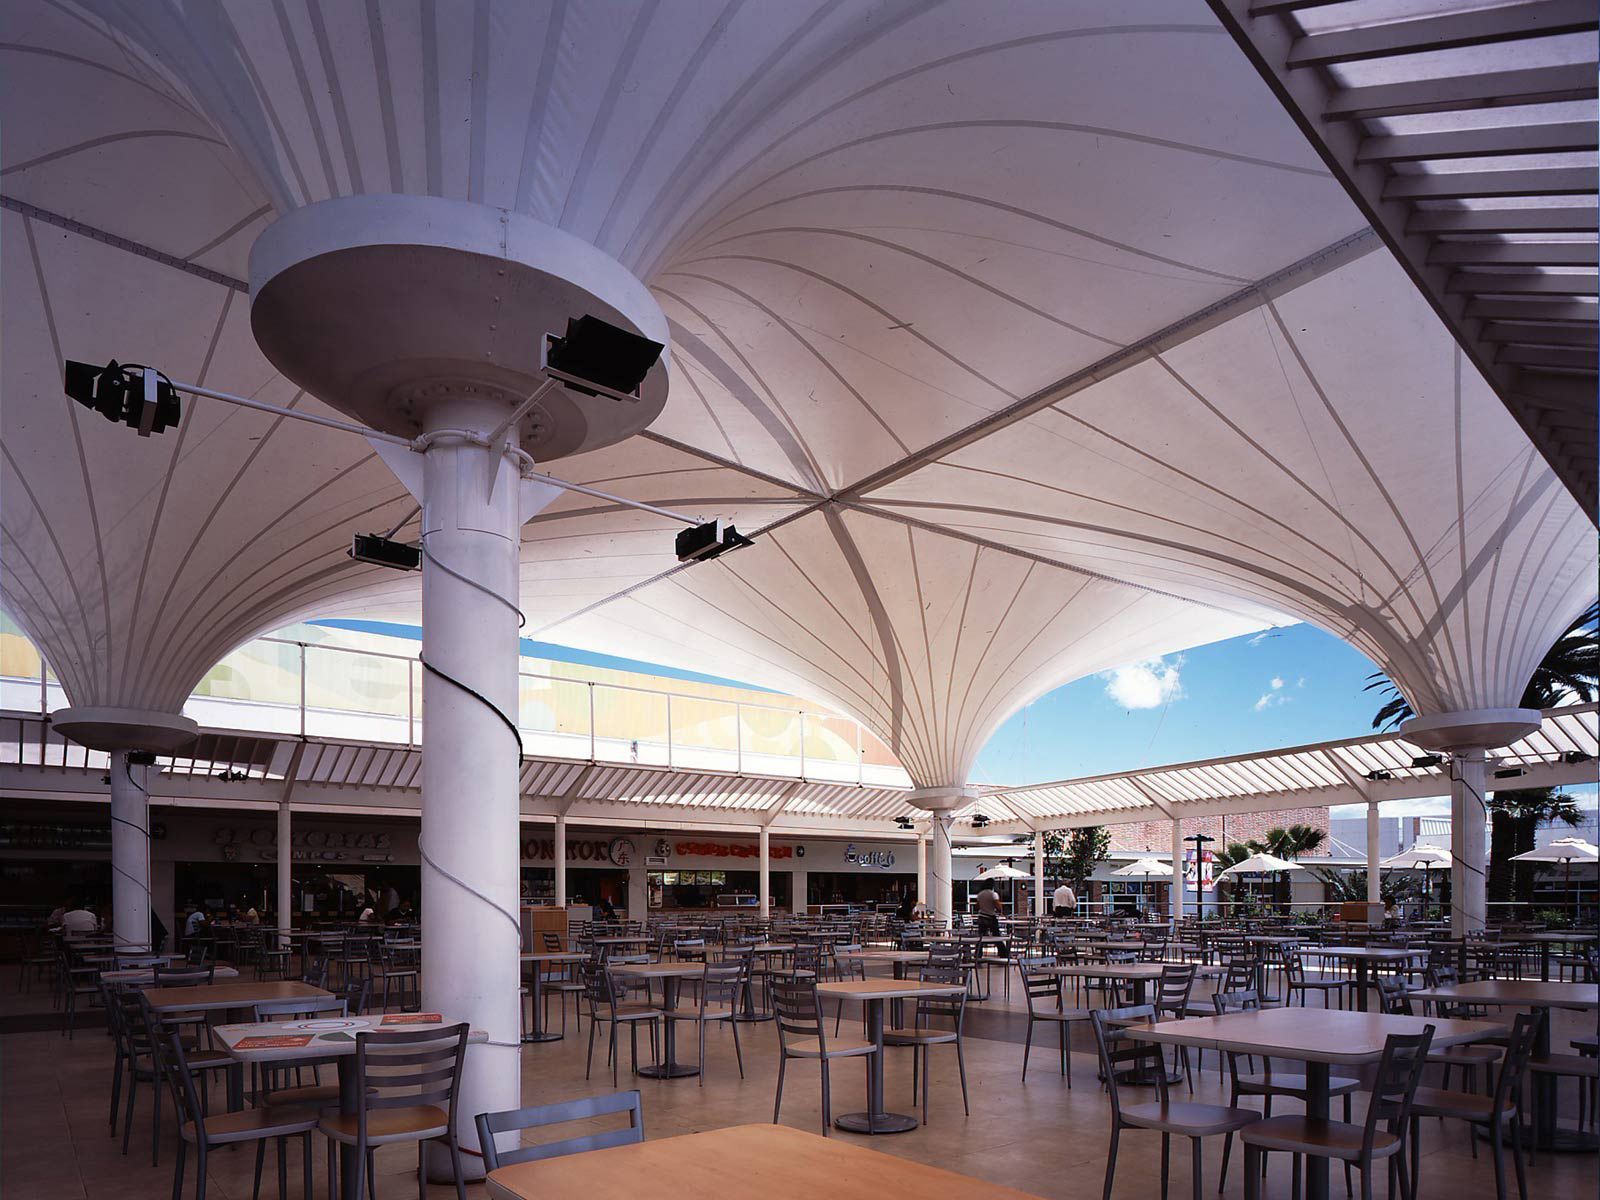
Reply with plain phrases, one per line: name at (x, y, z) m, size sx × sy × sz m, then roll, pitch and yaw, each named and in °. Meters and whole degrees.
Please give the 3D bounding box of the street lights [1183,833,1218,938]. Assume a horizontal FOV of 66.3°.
street lights at (10.903, 7.742, 33.396) m, size 0.821 × 2.564 × 0.848 m, roll -1°, pitch -4°, yaw 13°
